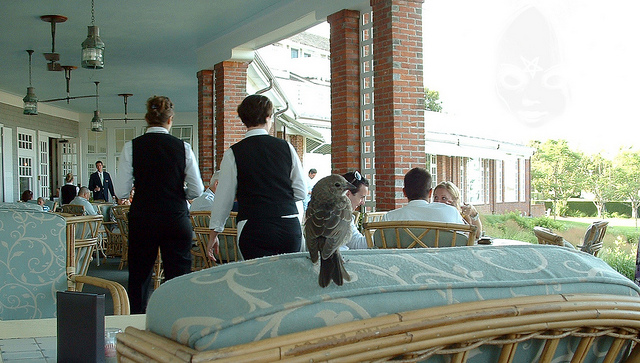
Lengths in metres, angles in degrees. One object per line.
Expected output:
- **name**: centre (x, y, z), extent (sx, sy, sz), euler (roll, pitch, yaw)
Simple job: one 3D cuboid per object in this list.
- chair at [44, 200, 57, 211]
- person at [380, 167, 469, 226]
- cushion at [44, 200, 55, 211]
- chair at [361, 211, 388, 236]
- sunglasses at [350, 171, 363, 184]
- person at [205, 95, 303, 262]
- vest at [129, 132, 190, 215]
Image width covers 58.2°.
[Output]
- **chair**: centre (-6.430, 0.565, 13.701), extent (0.260, 0.285, 0.231), euler (0, 3, 2)
- **person**: centre (1.329, 0.257, 7.877), extent (1.274, 0.789, 0.579), euler (-3, -12, 11)
- **cushion**: centre (-6.667, 0.573, 14.147), extent (0.255, 0.279, 0.229), euler (3, -5, -17)
- **chair**: centre (0.872, 0.638, 9.115), extent (0.393, 0.479, 0.402), euler (3, 1, 10)
- **sunglasses**: centre (0.429, -0.059, 6.794), extent (0.059, 0.105, 0.085), euler (25, -2, -8)
- **person**: centre (-0.843, -0.087, 7.683), extent (1.209, 2.160, 0.340), euler (-1, 2, -3)
- **vest**: centre (-2.350, -0.152, 8.340), extent (0.981, 1.171, 0.655), euler (-1, 1, -5)
